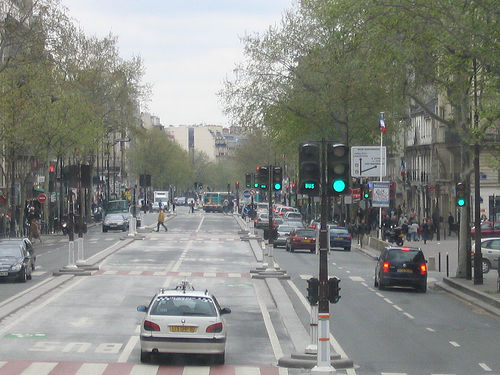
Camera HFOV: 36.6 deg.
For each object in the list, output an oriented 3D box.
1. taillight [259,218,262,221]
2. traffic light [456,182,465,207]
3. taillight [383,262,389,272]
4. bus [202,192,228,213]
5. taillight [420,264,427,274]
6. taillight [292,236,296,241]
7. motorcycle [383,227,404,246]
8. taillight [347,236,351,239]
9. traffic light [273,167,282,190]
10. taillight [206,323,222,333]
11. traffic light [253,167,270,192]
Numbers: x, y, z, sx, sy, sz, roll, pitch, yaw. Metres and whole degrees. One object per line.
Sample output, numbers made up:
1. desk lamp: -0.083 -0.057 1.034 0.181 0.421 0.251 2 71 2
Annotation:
1. taillight: 0.968 3.320 77.495 0.196 0.218 0.204 -2 -5 35
2. traffic light: 9.558 0.319 34.443 0.379 1.126 1.038 -1 -2 16
3. taillight: 5.708 3.376 31.912 0.263 0.515 0.302 -1 4 -4
4. bus: -6.246 2.551 129.876 2.579 2.629 4.552 0 -5 1
5. taillight: 7.313 3.462 31.936 0.143 0.422 0.501 -2 -2 31
6. taillight: 2.957 3.497 50.931 0.219 0.231 0.058 -2 -2 34
7. motorcycle: 10.035 3.457 53.100 0.857 1.093 1.554 0 2 -19
8. taillight: 7.107 3.639 54.711 0.220 0.149 0.165 -2 3 14
9. traffic light: 1.189 -0.385 33.545 0.359 1.009 0.934 -1 -2 4
10. taillight: -0.877 3.401 18.177 0.365 0.215 0.074 -1 -1 -12
11. traffic light: 0.474 -0.355 34.028 0.751 1.767 1.029 1 1 1
